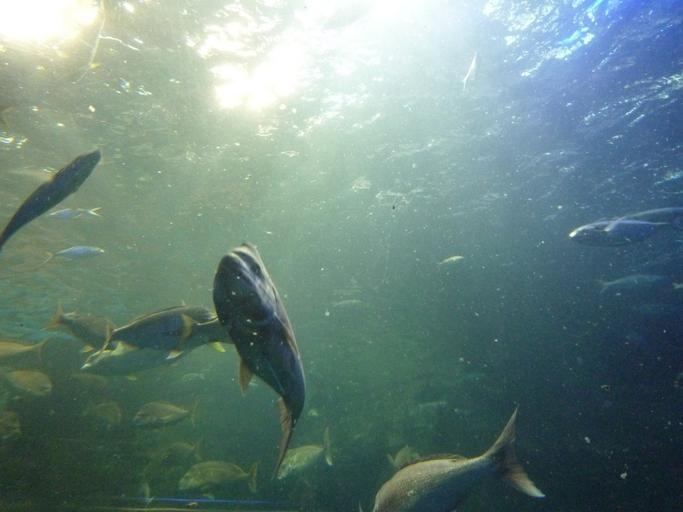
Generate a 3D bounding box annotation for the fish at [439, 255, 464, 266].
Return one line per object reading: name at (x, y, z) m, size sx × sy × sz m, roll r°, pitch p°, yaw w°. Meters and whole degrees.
fish at (5.411, 0.240, 29.326) m, size 1.162 × 0.353 × 0.276 m, roll -13°, pitch -7°, yaw -17°
